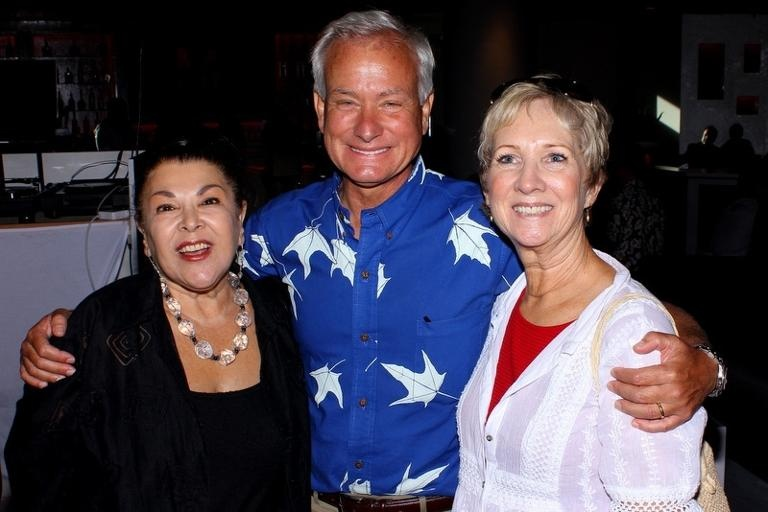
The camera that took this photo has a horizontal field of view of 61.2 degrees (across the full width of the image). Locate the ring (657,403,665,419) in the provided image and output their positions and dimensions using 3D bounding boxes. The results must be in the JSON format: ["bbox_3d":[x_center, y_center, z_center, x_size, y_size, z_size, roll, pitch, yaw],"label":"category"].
[{"bbox_3d":[0.935,0.520,2.179,0.010,0.040,0.040,-13,26,0],"label":"ring"}]
